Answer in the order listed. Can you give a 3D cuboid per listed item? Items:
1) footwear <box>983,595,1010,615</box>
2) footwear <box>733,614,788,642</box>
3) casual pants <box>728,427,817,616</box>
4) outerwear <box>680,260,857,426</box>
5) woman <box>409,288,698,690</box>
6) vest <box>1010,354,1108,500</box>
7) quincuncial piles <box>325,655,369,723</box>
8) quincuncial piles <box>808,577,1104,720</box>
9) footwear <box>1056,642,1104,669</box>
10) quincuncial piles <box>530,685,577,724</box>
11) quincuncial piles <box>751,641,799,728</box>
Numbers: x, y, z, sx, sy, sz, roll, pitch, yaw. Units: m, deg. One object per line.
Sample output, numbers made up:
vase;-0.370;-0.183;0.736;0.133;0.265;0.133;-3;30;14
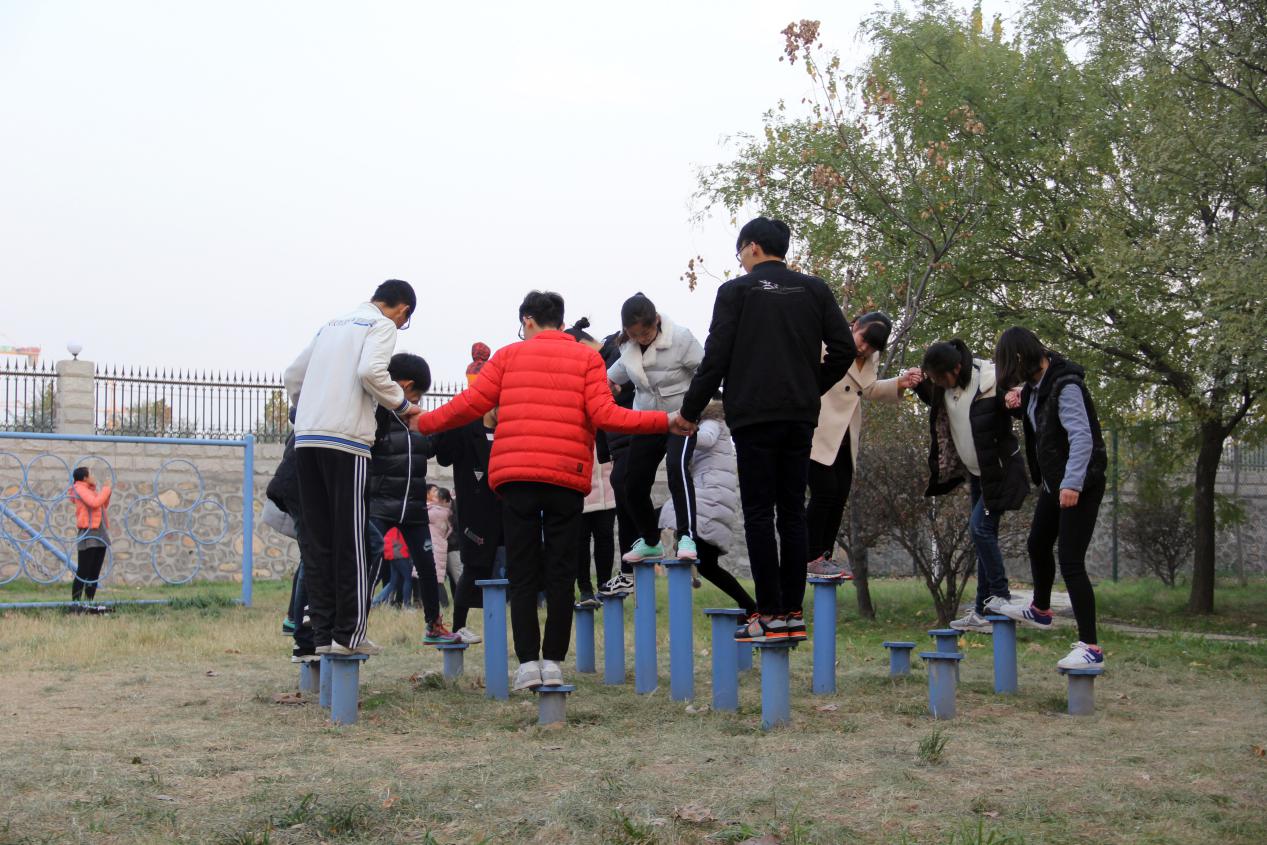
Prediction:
footwear;3.307;1.673;11.127;0.277;0.125;0.101;0;-4;-22
footwear;0.966;1.629;9.583;0.497;0.231;0.203;0;-1;37
casual pants;1.081;0.736;9.523;0.640;1.506;0.384;0;2;-3
outerwear;1.034;-0.616;9.816;1.446;1.306;0.783;0;-8;-11
woman;-0.691;0.671;9.782;1.617;2.787;0.597;0;2;-8
vest;3.562;-0.008;10.297;0.572;1.173;0.698;-2;3;-44
quincuncial piles;-2.337;2.130;9.869;0.294;0.548;0.371;-1;2;-14
quincuncial piles;2.997;2.034;10.344;1.562;0.714;1.341;-1;2;-16
footwear;3.665;1.915;9.995;0.347;0.212;0.284;1;2;15
quincuncial piles;-0.642;2.228;9.603;0.324;0.287;0.322;1;-7;-8
quincuncial piles;1.100;2.013;9.547;0.267;0.683;0.427;0;2;5
